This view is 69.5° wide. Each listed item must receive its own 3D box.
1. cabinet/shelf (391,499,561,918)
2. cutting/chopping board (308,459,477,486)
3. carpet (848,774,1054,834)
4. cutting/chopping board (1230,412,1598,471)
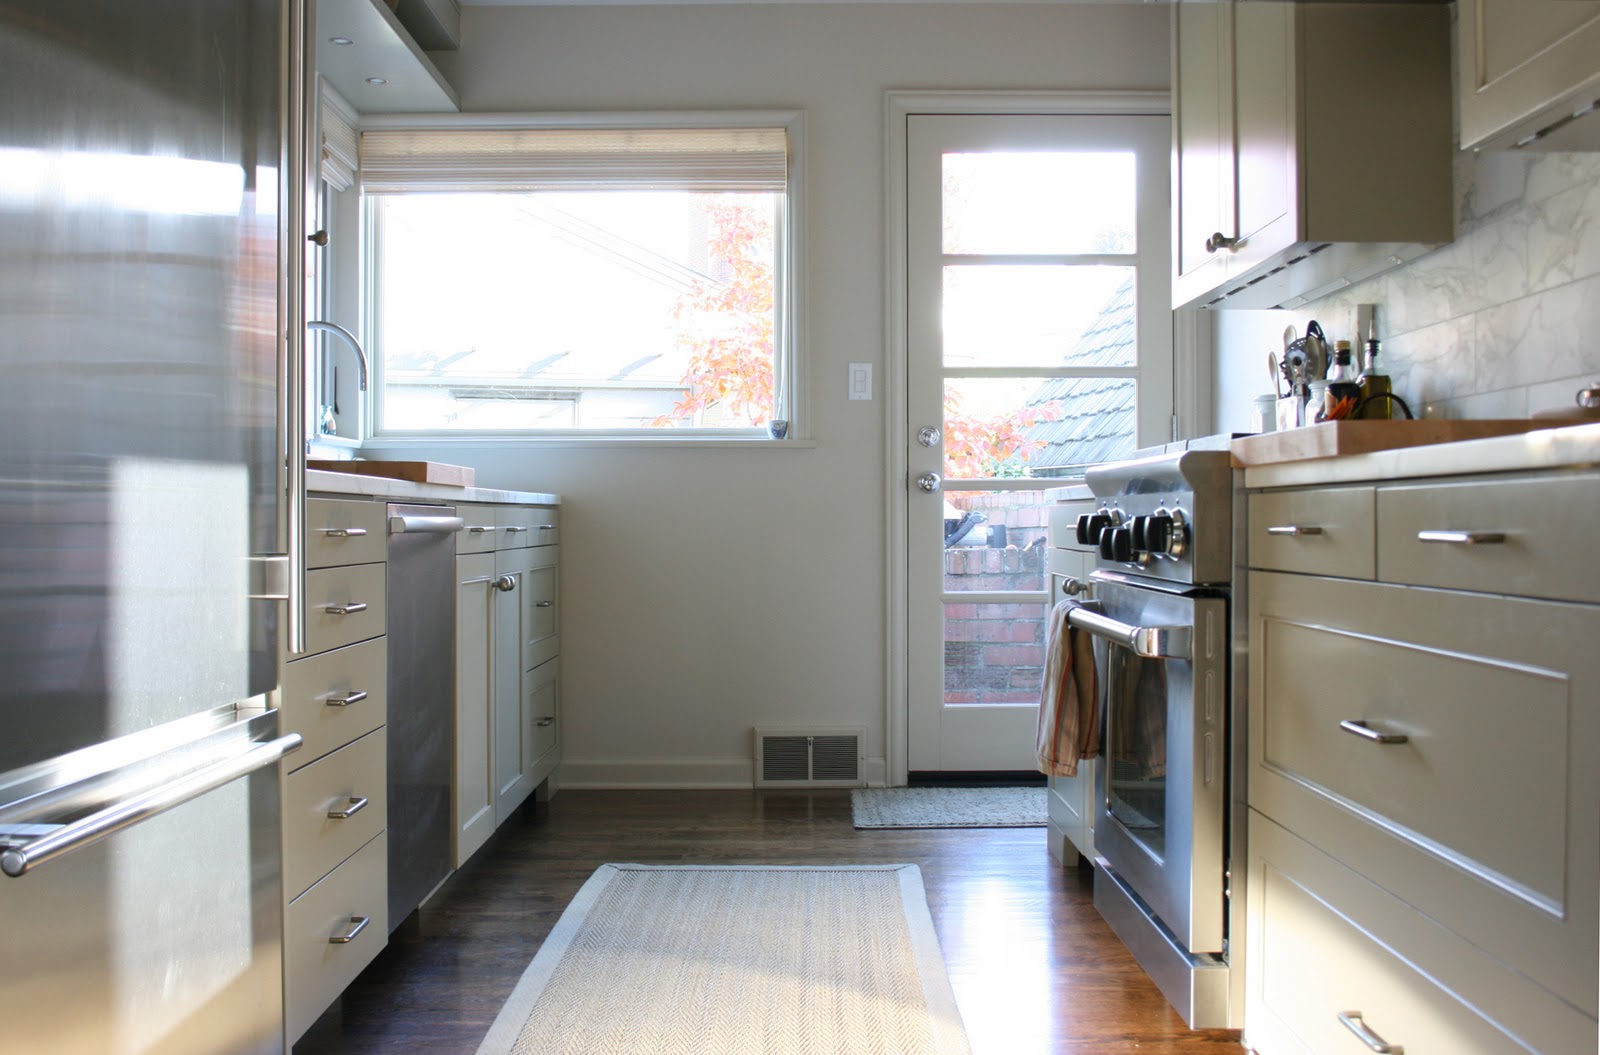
[{"bbox_3d":[-0.857,0.485,3.017,0.356,0.644,1.016,-2,2,-5],"label":"cabinet/shelf"},{"bbox_3d":[-0.998,-0.126,2.807,0.351,0.072,0.570,-1,5,-13],"label":"cutting/chopping board"},{"bbox_3d":[0.491,0.890,3.717,0.650,0.020,0.456,0,5,1],"label":"carpet"},{"bbox_3d":[1.077,-0.154,2.170,0.521,0.095,0.321,2,6,23],"label":"cutting/chopping board"}]
